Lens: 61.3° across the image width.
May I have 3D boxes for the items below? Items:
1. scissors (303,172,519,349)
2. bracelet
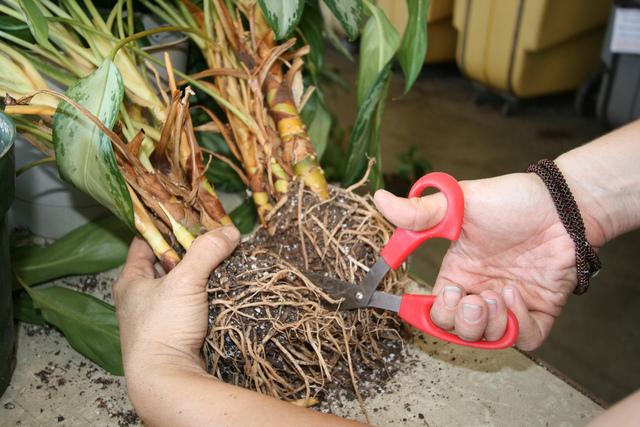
[{"bbox_3d":[0.134,0.085,0.829,0.271,0.062,0.303,-16,78,6],"label":"scissors"},{"bbox_3d":[0.411,0.025,0.953,0.046,0.202,0.138,-15,14,31],"label":"bracelet"}]
